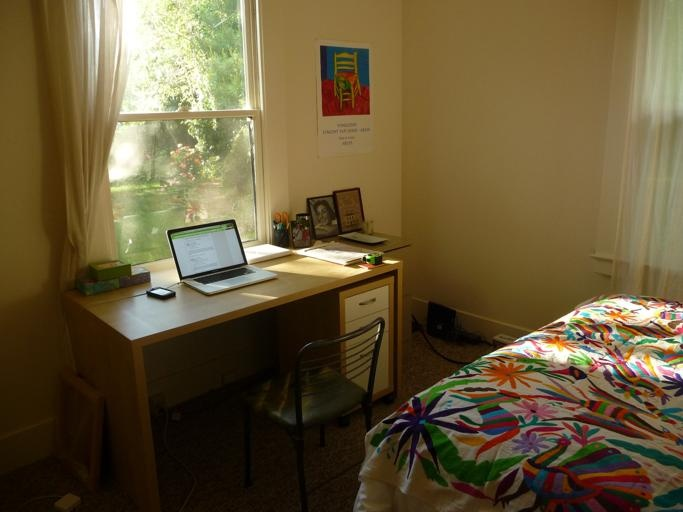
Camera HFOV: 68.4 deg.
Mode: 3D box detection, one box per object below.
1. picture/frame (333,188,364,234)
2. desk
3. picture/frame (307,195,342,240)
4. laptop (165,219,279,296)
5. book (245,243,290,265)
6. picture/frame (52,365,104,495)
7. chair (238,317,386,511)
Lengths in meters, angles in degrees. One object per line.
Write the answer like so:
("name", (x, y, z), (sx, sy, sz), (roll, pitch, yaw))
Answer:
("picture/frame", (0.037, -0.297, 3.377), (0.036, 0.293, 0.239), (-2, 14, 46))
("desk", (-0.480, 0.468, 2.751), (1.682, 0.902, 0.767), (-17, 23, -33))
("picture/frame", (-0.126, -0.247, 3.264), (0.216, 0.275, 0.034), (-19, 8, -37))
("laptop", (-0.657, 0.020, 2.600), (0.425, 0.431, 0.271), (-14, -2, -41))
("book", (-0.455, -0.022, 2.922), (0.136, 0.032, 0.148), (13, 21, 41))
("picture/frame", (-1.255, 0.850, 2.420), (0.506, 0.638, 0.062), (11, 12, 42))
("chair", (-0.124, 0.794, 2.450), (0.556, 0.957, 0.516), (22, 27, 40))
